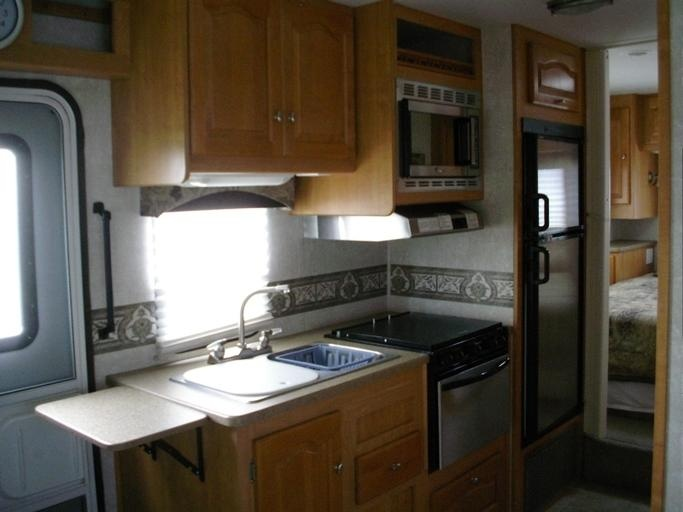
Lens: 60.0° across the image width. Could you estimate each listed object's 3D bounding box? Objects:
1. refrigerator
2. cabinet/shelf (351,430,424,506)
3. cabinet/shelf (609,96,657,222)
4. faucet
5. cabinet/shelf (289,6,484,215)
[{"bbox_3d":[1.368,0.134,3.848,0.301,1.992,0.841,8,12,38],"label":"refrigerator"},{"bbox_3d":[0.222,1.034,2.913,0.248,0.192,0.393,-1,3,40],"label":"cabinet/shelf"},{"bbox_3d":[3.320,-1.112,6.727,0.475,1.394,0.891,8,12,38],"label":"cabinet/shelf"},{"bbox_3d":[-0.431,0.301,3.255,0.266,0.340,0.457,-1,10,-7],"label":"faucet"},{"bbox_3d":[0.195,-0.769,3.097,0.628,1.038,1.068,1,6,39],"label":"cabinet/shelf"}]
